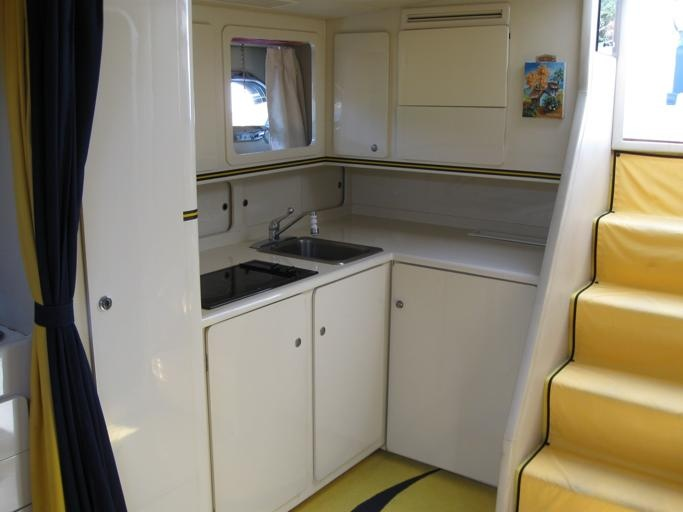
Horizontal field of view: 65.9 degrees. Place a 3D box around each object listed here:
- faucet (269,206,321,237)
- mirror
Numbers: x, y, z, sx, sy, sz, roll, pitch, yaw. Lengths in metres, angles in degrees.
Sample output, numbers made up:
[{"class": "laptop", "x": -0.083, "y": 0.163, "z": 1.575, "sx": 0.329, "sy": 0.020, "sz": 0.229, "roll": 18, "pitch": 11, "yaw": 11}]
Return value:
[{"class": "faucet", "x": -0.275, "y": -0.239, "z": 3.207, "sx": 0.268, "sy": 0.192, "sz": 0.521, "roll": 0, "pitch": 18, "yaw": 3}, {"class": "mirror", "x": -0.390, "y": -0.893, "z": 2.970, "sx": 0.061, "sy": 0.605, "sz": 0.627, "roll": 4, "pitch": 13, "yaw": 40}]
